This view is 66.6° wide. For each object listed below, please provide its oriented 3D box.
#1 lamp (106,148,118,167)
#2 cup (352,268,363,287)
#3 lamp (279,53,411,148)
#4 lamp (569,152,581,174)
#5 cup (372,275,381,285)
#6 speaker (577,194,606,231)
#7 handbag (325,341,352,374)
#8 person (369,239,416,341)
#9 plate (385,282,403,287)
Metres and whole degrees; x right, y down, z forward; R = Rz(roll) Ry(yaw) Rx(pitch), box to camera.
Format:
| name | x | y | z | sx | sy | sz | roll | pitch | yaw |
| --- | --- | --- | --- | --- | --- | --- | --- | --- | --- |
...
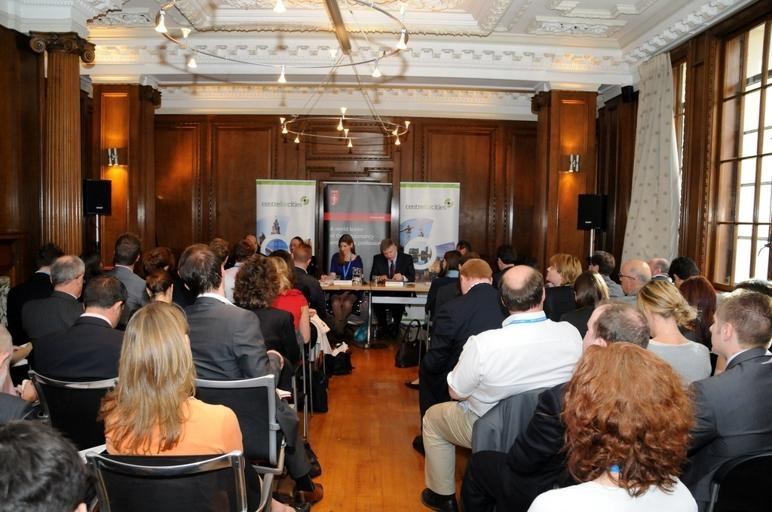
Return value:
| name | x | y | z | sx | sy | sz | roll | pitch | yaw |
| --- | --- | --- | --- | --- | --- | --- | --- | --- | --- |
| lamp | -3.997 | -1.434 | 8.560 | 0.210 | 0.327 | 0.226 | -2 | 5 | -18 |
| cup | -0.406 | 0.287 | 8.227 | 0.187 | 0.324 | 0.191 | 0 | -2 | 0 |
| lamp | -0.620 | -2.587 | 9.688 | 1.487 | 1.748 | 1.477 | 2 | -2 | -42 |
| lamp | 2.767 | -1.345 | 8.454 | 0.207 | 0.224 | 0.051 | 4 | 0 | -1 |
| cup | -0.129 | 0.305 | 8.213 | 0.099 | 0.108 | 0.191 | 1 | 0 | 2 |
| speaker | 2.858 | -0.603 | 8.103 | 0.363 | 0.475 | 0.330 | 4 | 9 | 9 |
| handbag | -0.479 | 1.158 | 6.850 | 0.389 | 0.418 | 0.361 | -2 | -9 | 22 |
| person | 0.116 | 0.443 | 8.762 | 0.635 | 1.395 | 0.737 | 3 | 12 | 21 |
| plate | 0.125 | 0.385 | 7.949 | 0.249 | 0.035 | 0.249 | 3 | 9 | 1 |
